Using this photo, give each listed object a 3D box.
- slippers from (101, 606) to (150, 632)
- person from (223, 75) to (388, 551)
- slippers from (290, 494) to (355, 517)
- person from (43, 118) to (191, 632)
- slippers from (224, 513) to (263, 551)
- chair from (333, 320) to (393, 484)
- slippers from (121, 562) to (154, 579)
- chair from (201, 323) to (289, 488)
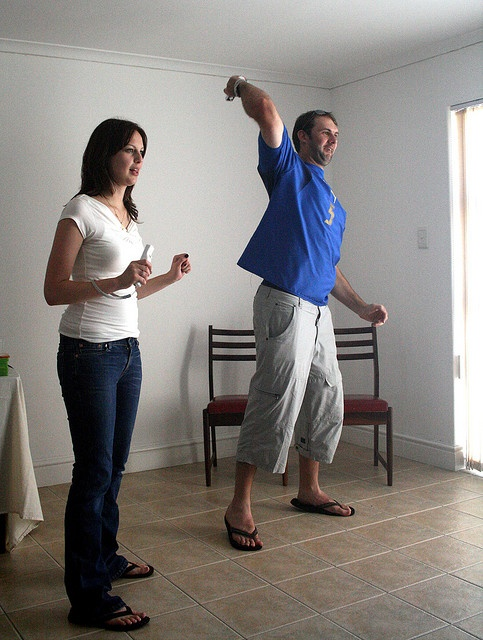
[{"bbox_3d":[-0.310,0.816,1.529,0.116,0.035,0.048,-6,-7,14],"label":"slippers"},{"bbox_3d":[0.159,0.004,2.245,0.420,1.729,0.803,-1,-2,29],"label":"person"},{"bbox_3d":[0.354,0.807,2.515,0.253,0.068,0.098,-2,-4,25],"label":"slippers"},{"bbox_3d":[-0.337,0.147,1.565,0.360,1.399,0.489,-1,-2,2],"label":"person"},{"bbox_3d":[-0.001,0.825,2.165,0.166,0.090,0.133,-1,-1,14],"label":"slippers"},{"bbox_3d":[0.602,0.467,3.188,0.469,0.890,0.540,-4,-3,22],"label":"chair"},{"bbox_3d":[-0.349,0.833,1.878,0.084,0.025,0.047,-3,9,-11],"label":"slippers"},{"bbox_3d":[0.027,0.530,3.383,0.451,0.867,0.490,-4,-15,30],"label":"chair"}]
